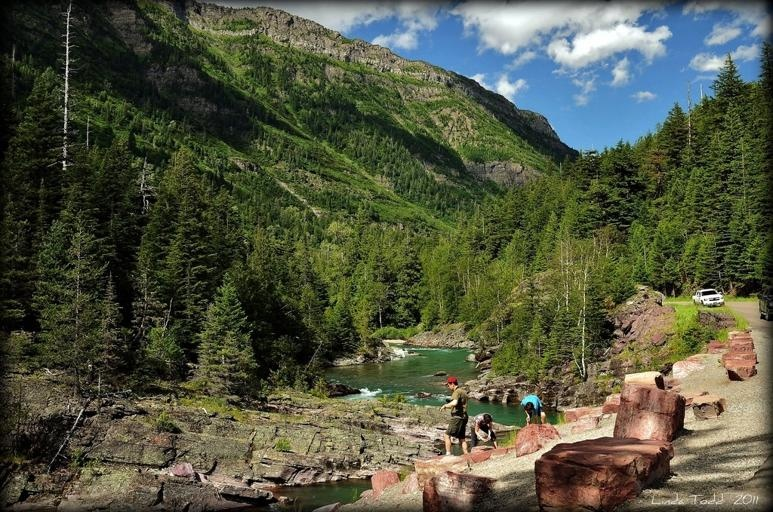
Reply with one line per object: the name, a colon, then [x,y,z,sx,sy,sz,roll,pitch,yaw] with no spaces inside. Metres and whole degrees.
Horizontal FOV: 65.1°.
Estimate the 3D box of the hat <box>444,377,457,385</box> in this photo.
hat: [4.987,9.675,46.122,0.822,0.599,1.167,1,2,16]
